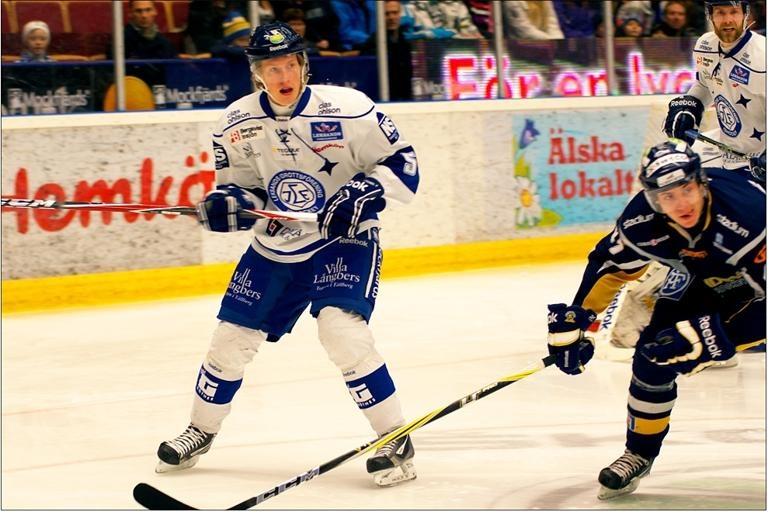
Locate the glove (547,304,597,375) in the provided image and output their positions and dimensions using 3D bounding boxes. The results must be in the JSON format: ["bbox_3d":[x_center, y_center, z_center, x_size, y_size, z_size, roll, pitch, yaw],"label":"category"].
[{"bbox_3d":[0.816,0.356,3.694,0.235,0.273,0.167,-3,2,43],"label":"glove"}]

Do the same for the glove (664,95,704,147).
[{"bbox_3d":[1.907,-0.895,5.454,0.240,0.333,0.151,9,-19,29],"label":"glove"}]

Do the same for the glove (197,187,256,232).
[{"bbox_3d":[-0.706,-0.220,4.057,0.221,0.168,0.261,-11,-7,16],"label":"glove"}]

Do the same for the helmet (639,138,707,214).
[{"bbox_3d":[1.163,-0.318,3.422,0.249,0.287,0.249,1,11,18],"label":"helmet"}]

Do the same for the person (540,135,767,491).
[{"bbox_3d":[1.146,0.272,3.583,0.884,1.503,0.380,-1,12,8],"label":"person"}]

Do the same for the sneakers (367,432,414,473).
[{"bbox_3d":[0.029,0.890,3.836,0.120,0.147,0.320,-6,-5,35],"label":"sneakers"}]

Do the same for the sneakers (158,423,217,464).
[{"bbox_3d":[-0.920,0.889,4.104,0.109,0.118,0.324,37,20,15],"label":"sneakers"}]

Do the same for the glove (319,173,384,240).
[{"bbox_3d":[-0.137,-0.211,3.867,0.343,0.133,0.235,-29,46,-4],"label":"glove"}]

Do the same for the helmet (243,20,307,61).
[{"bbox_3d":[-0.498,-0.996,3.901,0.263,0.186,0.207,-6,10,-19],"label":"helmet"}]

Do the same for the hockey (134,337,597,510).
[{"bbox_3d":[-0.085,0.850,4.193,1.935,0.281,0.108,-17,59,-22],"label":"hockey"}]
